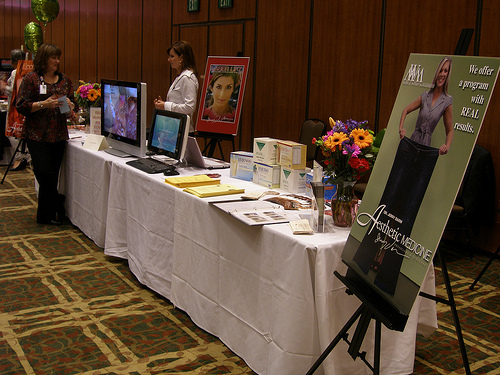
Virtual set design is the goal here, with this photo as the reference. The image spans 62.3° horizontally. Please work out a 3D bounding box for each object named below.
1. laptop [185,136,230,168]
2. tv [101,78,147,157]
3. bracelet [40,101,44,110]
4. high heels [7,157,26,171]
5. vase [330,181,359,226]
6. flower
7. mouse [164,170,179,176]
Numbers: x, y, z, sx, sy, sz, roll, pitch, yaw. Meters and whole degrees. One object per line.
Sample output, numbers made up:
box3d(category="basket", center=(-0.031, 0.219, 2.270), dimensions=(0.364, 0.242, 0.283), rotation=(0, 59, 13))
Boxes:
box3d(category="laptop", center=(-0.428, -0.319, 3.907), dimensions=(0.194, 0.364, 0.340), rotation=(-11, 17, -27))
box3d(category="tv", center=(-1.287, -0.694, 4.209), dimensions=(0.109, 0.581, 0.662), rotation=(-3, 13, -38))
box3d(category="bracelet", center=(-2.284, -0.919, 4.542), dimensions=(0.046, 0.045, 0.050), rotation=(1, 1, -23))
box3d(category="high heels", center=(-4.390, -0.418, 7.669), dimensions=(0.130, 0.205, 0.420), rotation=(2, 8, 25))
box3d(category="vase", center=(0.582, 0.082, 2.525), dimensions=(0.145, 0.310, 0.167), rotation=(2, 29, 18))
box3d(category="flower", center=(0.558, -0.062, 2.433), dimensions=(0.331, 0.551, 0.333), rotation=(2, 5, 3))
box3d(category="mouse", center=(-0.661, -0.130, 3.492), dimensions=(0.064, 0.033, 0.083), rotation=(1, 18, 2))
